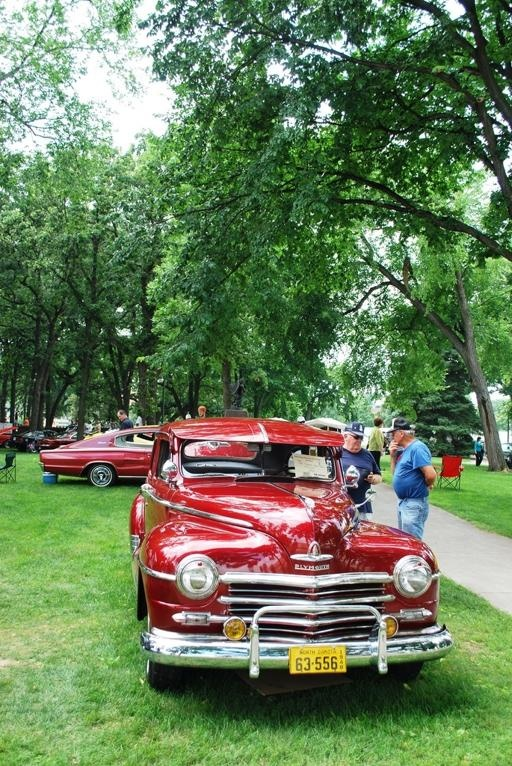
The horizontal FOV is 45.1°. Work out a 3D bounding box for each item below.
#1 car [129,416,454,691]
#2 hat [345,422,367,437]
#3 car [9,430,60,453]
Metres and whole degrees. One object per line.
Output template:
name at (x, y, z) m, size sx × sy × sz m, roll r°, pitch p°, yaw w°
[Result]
car at (0.144, 1.007, 4.365) m, size 1.914 × 1.463 × 1.864 m, roll 3°, pitch -4°, yaw -16°
hat at (1.076, 0.503, 6.760) m, size 0.150 × 0.112 × 0.211 m, roll 11°, pitch -13°, yaw -32°
car at (-12.029, 3.086, 33.306) m, size 2.775 × 0.936 × 1.358 m, roll -6°, pitch -4°, yaw 33°
